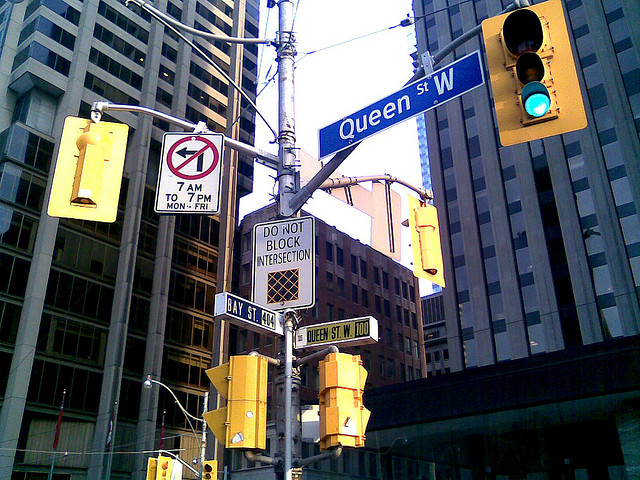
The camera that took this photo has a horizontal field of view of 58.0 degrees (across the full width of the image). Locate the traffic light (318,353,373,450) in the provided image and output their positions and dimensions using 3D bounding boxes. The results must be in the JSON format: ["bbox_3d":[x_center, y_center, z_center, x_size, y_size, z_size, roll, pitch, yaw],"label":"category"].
[{"bbox_3d":[0.351,2.391,8.860,0.747,1.440,0.572,-2,-27,0],"label":"traffic light"}]

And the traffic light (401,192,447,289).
[{"bbox_3d":[2.277,-0.048,12.677,0.648,2.003,0.602,-4,-27,5],"label":"traffic light"}]

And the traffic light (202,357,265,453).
[{"bbox_3d":[-1.430,2.476,9.024,0.767,1.466,1.219,-5,-13,43],"label":"traffic light"}]

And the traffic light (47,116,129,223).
[{"bbox_3d":[-3.821,-1.187,9.522,0.935,1.889,0.520,6,-30,-17],"label":"traffic light"}]
